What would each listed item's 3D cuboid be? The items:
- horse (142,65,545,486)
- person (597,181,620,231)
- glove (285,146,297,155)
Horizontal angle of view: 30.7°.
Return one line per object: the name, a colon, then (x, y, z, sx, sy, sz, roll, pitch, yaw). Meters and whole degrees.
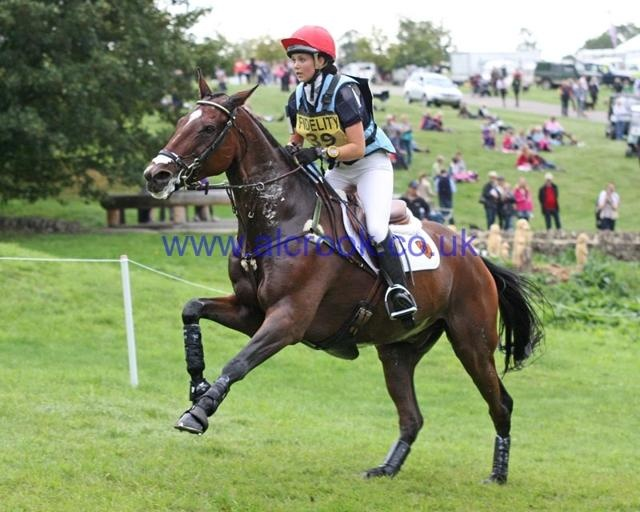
horse: (0.402, 0.534, 12.103, 5.618, 3.620, 1.409, 12, -16, -41)
person: (4.053, -0.702, 16.405, 0.314, 0.681, 0.487, 2, 4, 13)
glove: (-0.290, -1.055, 11.518, 0.083, 0.051, 0.107, 23, -3, -26)
